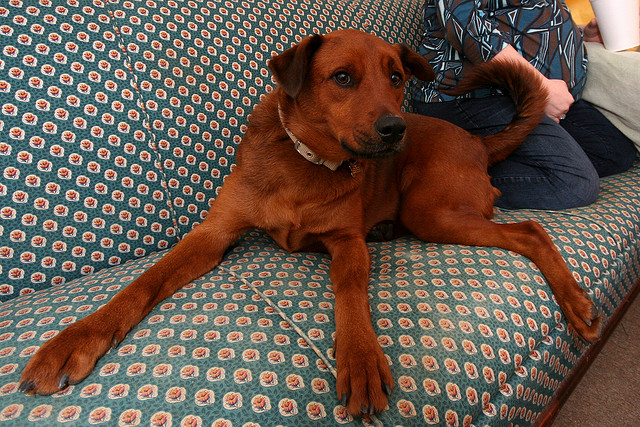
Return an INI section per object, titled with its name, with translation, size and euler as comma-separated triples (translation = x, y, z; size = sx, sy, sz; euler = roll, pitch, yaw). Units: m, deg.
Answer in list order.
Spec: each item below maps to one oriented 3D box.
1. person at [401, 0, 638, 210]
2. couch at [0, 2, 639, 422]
[person]
translation = 1.213, -0.617, 2.719
size = 0.707, 1.138, 0.703
euler = 28, 57, 38
[couch]
translation = -0.072, 0.009, 2.094
size = 1.073, 1.023, 2.114
euler = 3, 42, 46
